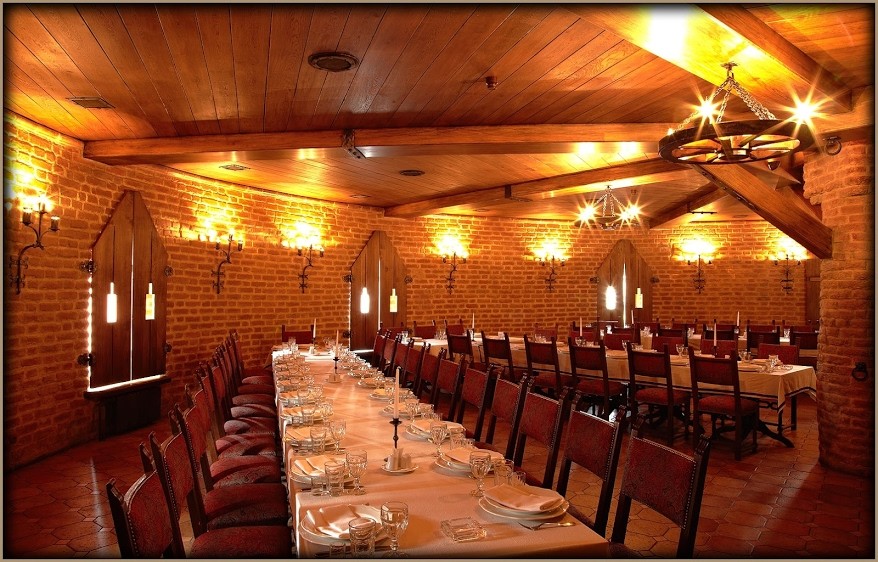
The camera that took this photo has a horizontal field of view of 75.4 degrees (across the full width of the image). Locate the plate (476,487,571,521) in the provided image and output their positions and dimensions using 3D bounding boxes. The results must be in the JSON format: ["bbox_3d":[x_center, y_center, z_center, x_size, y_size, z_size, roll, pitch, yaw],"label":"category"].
[{"bbox_3d":[0.502,1.377,3.520,0.268,0.058,0.266,1,0,29],"label":"plate"}]

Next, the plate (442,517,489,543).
[{"bbox_3d":[0.154,1.485,3.388,0.267,0.081,0.180,0,-3,1],"label":"plate"}]

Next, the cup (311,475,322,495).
[{"bbox_3d":[-0.786,1.338,3.701,0.077,0.103,0.076,0,-3,0],"label":"cup"}]

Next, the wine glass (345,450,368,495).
[{"bbox_3d":[-0.554,1.260,3.789,0.135,0.240,0.263,0,-3,-9],"label":"wine glass"}]

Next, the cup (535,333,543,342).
[{"bbox_3d":[1.735,0.983,9.830,0.108,0.149,0.097,0,-9,4],"label":"cup"}]

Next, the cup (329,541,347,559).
[{"bbox_3d":[-0.556,1.510,3.185,0.091,0.074,0.086,1,-3,0],"label":"cup"}]

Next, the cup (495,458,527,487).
[{"bbox_3d":[0.463,1.270,3.776,0.223,0.140,0.127,-1,-2,3],"label":"cup"}]

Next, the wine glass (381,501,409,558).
[{"bbox_3d":[-0.265,1.427,3.311,0.148,0.250,0.203,0,-3,-5],"label":"wine glass"}]

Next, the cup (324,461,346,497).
[{"bbox_3d":[-0.689,1.301,3.772,0.128,0.180,0.239,0,-3,-9],"label":"cup"}]

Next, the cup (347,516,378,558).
[{"bbox_3d":[-0.421,1.454,3.233,0.177,0.175,0.167,1,4,0],"label":"cup"}]

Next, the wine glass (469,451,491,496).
[{"bbox_3d":[0.273,1.270,3.815,0.131,0.260,0.292,0,-3,3],"label":"wine glass"}]

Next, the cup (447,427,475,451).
[{"bbox_3d":[0.156,1.200,4.283,0.124,0.166,0.180,2,-14,-12],"label":"cup"}]

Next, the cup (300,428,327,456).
[{"bbox_3d":[-0.912,1.198,4.194,0.189,0.183,0.178,0,-11,0],"label":"cup"}]

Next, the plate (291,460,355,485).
[{"bbox_3d":[-0.766,1.281,3.779,0.238,0.048,0.227,3,-2,-27],"label":"plate"}]
